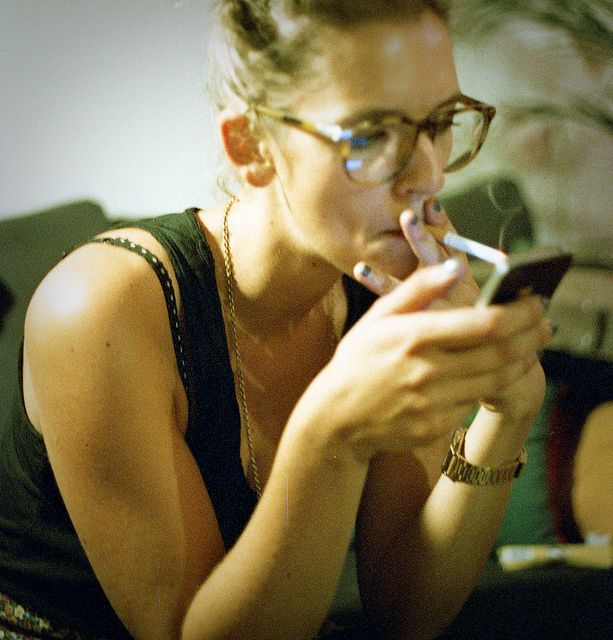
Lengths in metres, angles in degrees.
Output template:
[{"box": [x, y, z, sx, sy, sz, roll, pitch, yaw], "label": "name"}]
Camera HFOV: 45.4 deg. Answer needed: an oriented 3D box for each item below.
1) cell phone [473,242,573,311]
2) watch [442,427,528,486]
[{"box": [0.236, -0.046, 0.773, 0.072, 0.076, 0.017, -4, 43, -29], "label": "cell phone"}, {"box": [0.221, 0.171, 0.902, 0.101, 0.074, 0.027, 7, 19, 8], "label": "watch"}]
